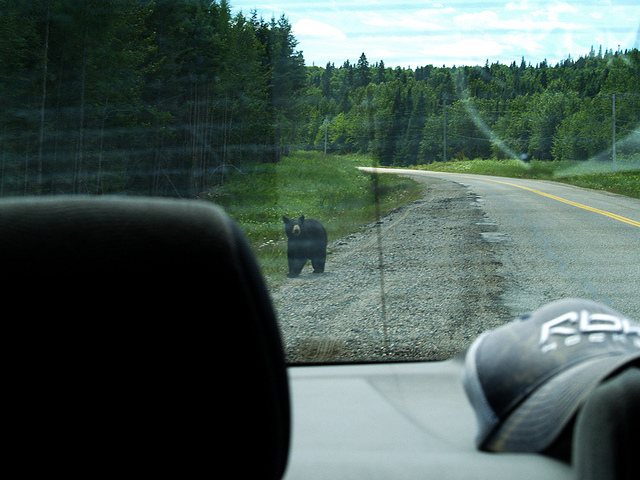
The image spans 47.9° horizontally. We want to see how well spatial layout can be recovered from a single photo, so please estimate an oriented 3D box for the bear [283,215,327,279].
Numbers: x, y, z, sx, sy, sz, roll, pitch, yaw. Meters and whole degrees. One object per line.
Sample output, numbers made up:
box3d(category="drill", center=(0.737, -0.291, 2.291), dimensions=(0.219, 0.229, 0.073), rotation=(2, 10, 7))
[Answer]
box3d(category="bear", center=(-0.179, 0.090, 9.338), dimensions=(0.387, 0.801, 0.712), rotation=(2, 7, 34))
